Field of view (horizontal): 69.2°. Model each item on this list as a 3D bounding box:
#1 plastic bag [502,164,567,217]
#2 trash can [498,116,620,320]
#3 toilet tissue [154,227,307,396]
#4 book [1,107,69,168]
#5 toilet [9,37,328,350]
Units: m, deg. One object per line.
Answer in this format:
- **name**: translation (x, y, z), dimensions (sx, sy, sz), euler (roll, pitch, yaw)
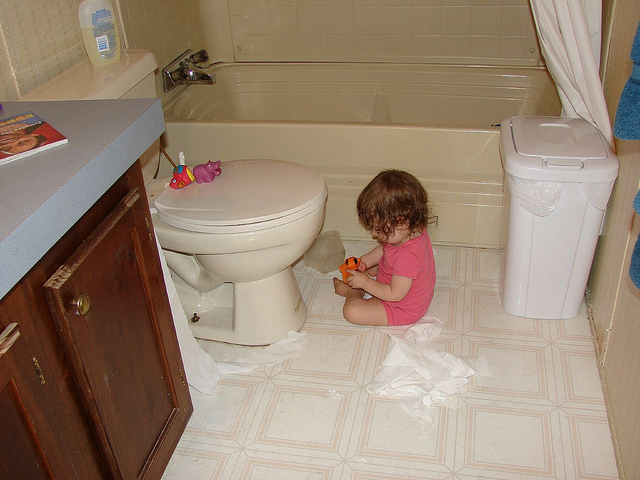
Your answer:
- **plastic bag**: translation (0.652, -0.132, 1.409), dimensions (0.159, 0.130, 0.030), euler (8, 37, 19)
- **trash can**: translation (0.739, -0.067, 1.619), dimensions (0.330, 0.661, 0.397), euler (7, 31, 12)
- **toilet tissue**: translation (-0.277, 0.122, 1.588), dimensions (0.538, 0.579, 0.354), euler (-9, 36, -8)
- **book**: translation (-0.572, -0.200, 0.884), dimensions (0.117, 0.016, 0.215), euler (-31, 44, -29)
- **toilet**: translation (-0.434, -0.080, 1.518), dimensions (0.825, 0.885, 0.545), euler (3, 32, 7)
